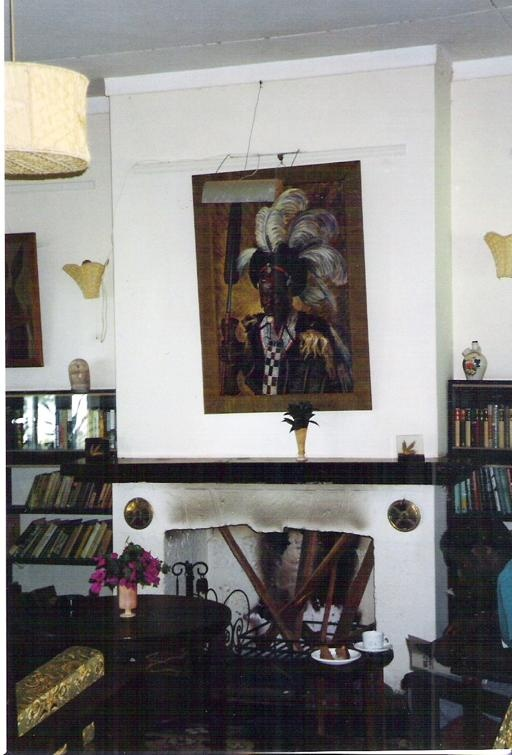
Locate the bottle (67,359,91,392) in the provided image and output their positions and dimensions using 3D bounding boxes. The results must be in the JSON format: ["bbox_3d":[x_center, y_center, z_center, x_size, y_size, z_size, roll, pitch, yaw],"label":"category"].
[{"bbox_3d":[-0.805,-0.005,4.425,0.118,0.155,0.090,0,-1,-29],"label":"bottle"}]

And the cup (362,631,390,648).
[{"bbox_3d":[0.476,1.035,3.822,0.101,0.071,0.075,1,-5,-6],"label":"cup"}]

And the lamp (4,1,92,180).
[{"bbox_3d":[-0.594,-0.844,2.709,0.223,0.535,0.445,0,-1,-15],"label":"lamp"}]

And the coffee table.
[{"bbox_3d":[0.364,1.209,3.716,0.334,0.276,0.515,0,0,3],"label":"coffee table"}]

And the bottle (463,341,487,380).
[{"bbox_3d":[0.920,-0.069,4.062,0.101,0.161,0.119,-1,-1,12],"label":"bottle"}]

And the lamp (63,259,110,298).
[{"bbox_3d":[-0.773,-0.448,4.417,0.182,0.131,0.186,1,7,17],"label":"lamp"}]

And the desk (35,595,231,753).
[{"bbox_3d":[-0.458,1.104,3.598,0.746,0.465,0.841,0,0,-13],"label":"desk"}]

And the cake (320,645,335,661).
[{"bbox_3d":[0.282,1.109,3.874,0.037,0.040,0.038,0,-7,-7],"label":"cake"}]

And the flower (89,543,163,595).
[{"bbox_3d":[-0.503,0.744,3.729,0.272,0.226,0.249,-1,4,-1],"label":"flower"}]

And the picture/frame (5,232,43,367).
[{"bbox_3d":[-1.123,-0.353,4.502,0.222,0.621,0.143,-1,-1,24],"label":"picture/frame"}]
